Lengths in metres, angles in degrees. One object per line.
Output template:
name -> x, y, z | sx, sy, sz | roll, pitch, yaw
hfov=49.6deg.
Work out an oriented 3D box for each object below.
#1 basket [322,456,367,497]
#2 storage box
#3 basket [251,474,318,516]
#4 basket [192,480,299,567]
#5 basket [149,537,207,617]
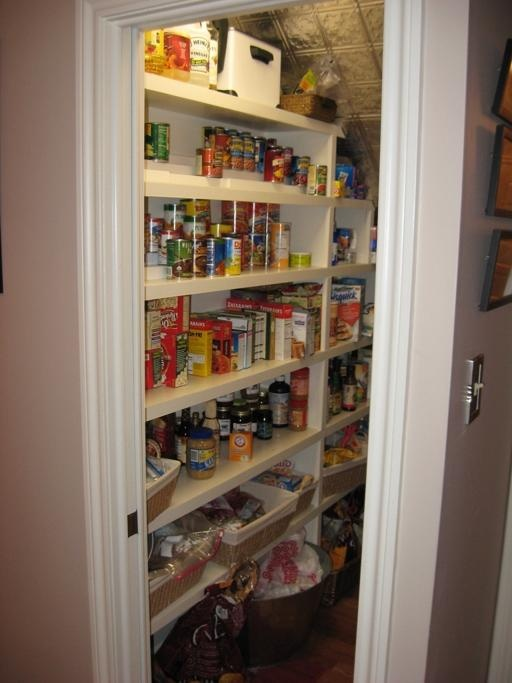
basket -> 0.402, 0.626, 2.549 | 0.198, 0.076, 0.205 | -4, -1, -20
storage box -> -0.016, -0.918, 1.873 | 0.074, 0.218, 0.343 | 6, 14, 32
basket -> 0.139, 0.603, 2.255 | 0.201, 0.099, 0.157 | 2, 5, 42
basket -> -0.011, 0.623, 1.911 | 0.193, 0.105, 0.270 | 2, 0, 32
basket -> -0.217, 0.657, 1.520 | 0.105, 0.054, 0.144 | -4, 10, 32
